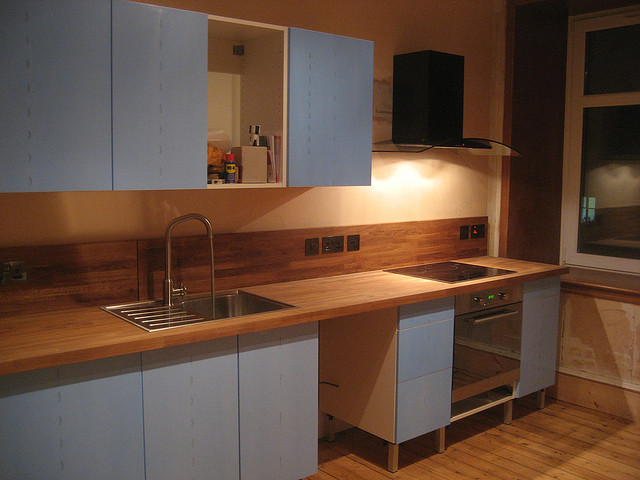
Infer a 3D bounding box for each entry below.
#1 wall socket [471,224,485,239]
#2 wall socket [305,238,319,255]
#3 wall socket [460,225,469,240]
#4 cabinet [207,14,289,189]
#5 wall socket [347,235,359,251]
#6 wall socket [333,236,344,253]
[{"bbox_3d":[1.264,-0.071,4.178,0.166,0.113,0.013,-6,10,-37],"label":"wall socket"},{"bbox_3d":[-0.059,0.037,3.227,0.100,0.099,0.026,-5,10,-39],"label":"wall socket"},{"bbox_3d":[1.124,-0.063,4.072,0.104,0.107,0.013,-5,9,-41],"label":"wall socket"},{"bbox_3d":[-0.394,-0.714,2.800,0.344,0.831,0.361,-5,10,-34],"label":"cabinet"},{"bbox_3d":[0.210,0.015,3.419,0.094,0.096,0.049,-6,11,-41],"label":"wall socket"},{"bbox_3d":[0.116,0.025,3.357,0.087,0.104,0.016,-7,11,-42],"label":"wall socket"}]
